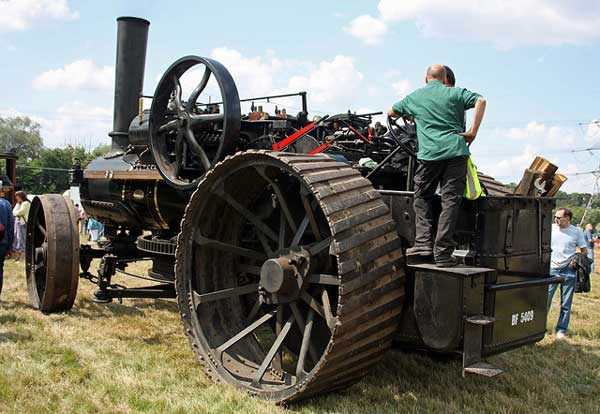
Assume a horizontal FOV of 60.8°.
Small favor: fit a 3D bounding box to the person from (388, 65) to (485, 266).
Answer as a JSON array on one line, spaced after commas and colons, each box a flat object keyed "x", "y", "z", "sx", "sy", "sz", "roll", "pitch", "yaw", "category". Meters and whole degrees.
[{"x": 1.397, "y": -0.461, "z": 5.044, "sx": 0.703, "sy": 1.981, "sz": 0.878, "roll": 2, "pitch": 3, "yaw": -2, "category": "person"}]

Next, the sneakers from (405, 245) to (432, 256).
[{"x": 1.124, "y": 0.401, "z": 4.843, "sx": 0.213, "sy": 0.101, "sz": 0.093, "roll": 4, "pitch": 3, "yaw": 37, "category": "sneakers"}]

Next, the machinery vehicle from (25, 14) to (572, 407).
[{"x": -0.854, "y": -0.320, "z": 7.338, "sx": 7.364, "sy": 4.275, "sz": 4.054, "roll": 4, "pitch": 3, "yaw": 29, "category": "machinery vehicle"}]
